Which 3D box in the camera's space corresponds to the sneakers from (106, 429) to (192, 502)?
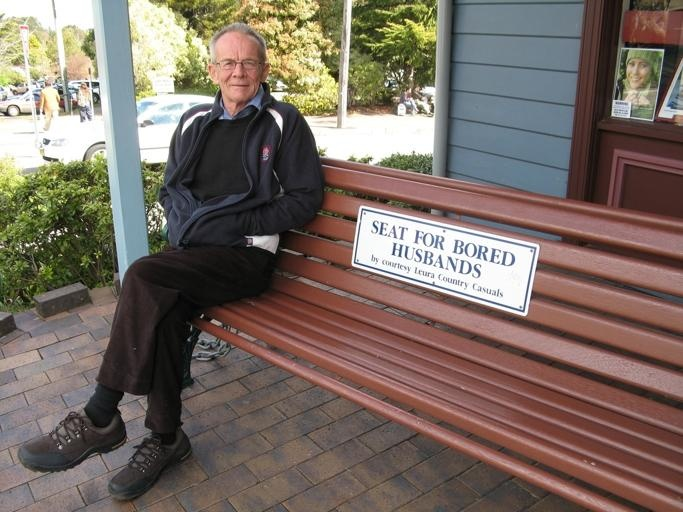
[{"bbox_3d":[-0.845,0.921,2.184,0.155,0.194,0.437,24,40,31],"label":"sneakers"}]
